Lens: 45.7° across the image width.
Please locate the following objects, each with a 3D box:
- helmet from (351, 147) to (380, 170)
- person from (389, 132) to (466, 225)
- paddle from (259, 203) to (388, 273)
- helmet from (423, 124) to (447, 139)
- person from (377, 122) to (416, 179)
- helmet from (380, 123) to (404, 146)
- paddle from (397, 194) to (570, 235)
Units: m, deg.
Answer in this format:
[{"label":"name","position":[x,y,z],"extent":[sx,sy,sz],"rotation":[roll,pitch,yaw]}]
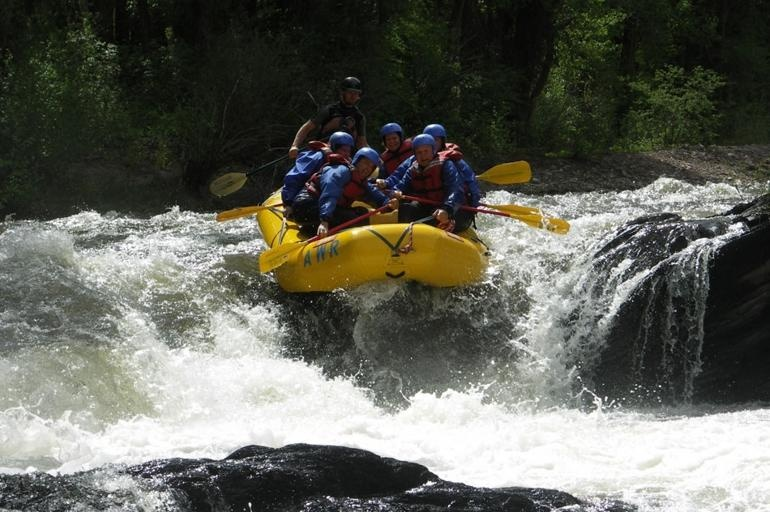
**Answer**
[{"label":"helmet","position":[-0.241,-1.339,12.428],"extent":[0.234,0.327,0.256],"rotation":[34,47,-13]},{"label":"person","position":[0.758,-1.099,12.859],"extent":[1.125,1.519,1.170],"rotation":[4,10,42]},{"label":"paddle","position":[-0.741,-0.234,11.949],"extent":[1.775,0.257,0.149],"rotation":[-27,-1,-8]},{"label":"helmet","position":[0.708,-1.775,13.090],"extent":[0.243,0.247,0.322],"rotation":[7,12,29]},{"label":"person","position":[0.184,-1.580,13.519],"extent":[0.532,0.754,0.300],"rotation":[-12,6,33]},{"label":"helmet","position":[0.108,-1.814,13.407],"extent":[0.276,0.231,0.299],"rotation":[-7,-10,3]},{"label":"paddle","position":[1.343,-0.580,12.982],"extent":[2.559,0.355,0.182],"rotation":[11,-23,3]}]
